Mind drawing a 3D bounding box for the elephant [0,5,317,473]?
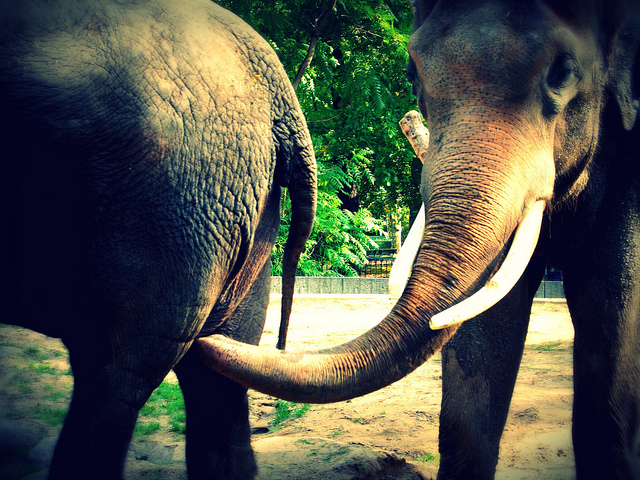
[{"bbox_3d":[-0.729,-0.034,2.909,1.312,1.955,0.550,12,-12,-29],"label":"elephant"}]
